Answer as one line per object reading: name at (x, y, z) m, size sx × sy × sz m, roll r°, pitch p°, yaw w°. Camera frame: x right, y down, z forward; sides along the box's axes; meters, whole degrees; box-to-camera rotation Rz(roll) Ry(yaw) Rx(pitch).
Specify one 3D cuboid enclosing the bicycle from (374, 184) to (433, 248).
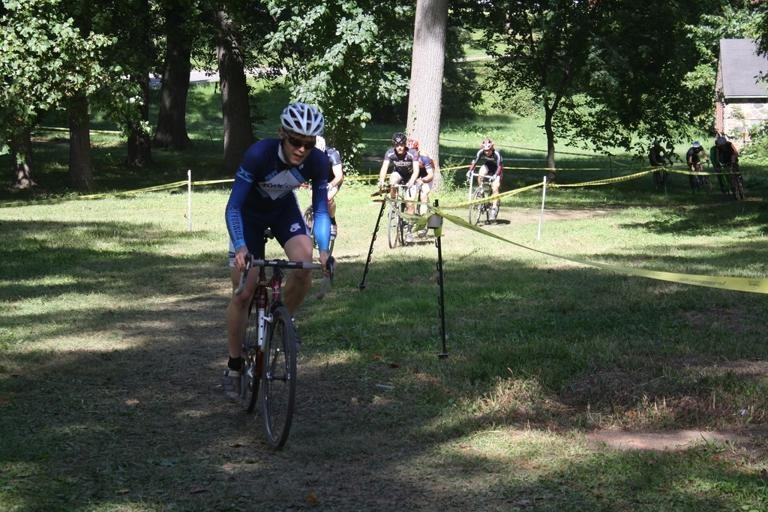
bicycle at (0.459, -0.857, 24.237) m, size 0.981 × 1.125 × 1.939 m, roll -3°, pitch 2°, yaw 17°

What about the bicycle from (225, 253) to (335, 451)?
bicycle at (-1.781, 1.446, 15.165) m, size 0.695 × 2.927 × 1.553 m, roll -7°, pitch 13°, yaw -31°

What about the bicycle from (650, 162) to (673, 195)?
bicycle at (10.812, -3.013, 37.324) m, size 0.875 × 1.002 × 1.645 m, roll -2°, pitch 6°, yaw 0°

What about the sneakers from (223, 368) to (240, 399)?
sneakers at (-2.506, 2.072, 15.883) m, size 0.209 × 0.516 × 0.244 m, roll -3°, pitch 0°, yaw -4°

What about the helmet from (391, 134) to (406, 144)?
helmet at (0.393, -2.941, 24.012) m, size 0.321 × 0.278 × 0.664 m, roll 0°, pitch 12°, yaw -2°

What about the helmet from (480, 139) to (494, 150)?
helmet at (2.918, -3.157, 27.151) m, size 0.341 × 0.246 × 0.602 m, roll 1°, pitch 12°, yaw 6°
